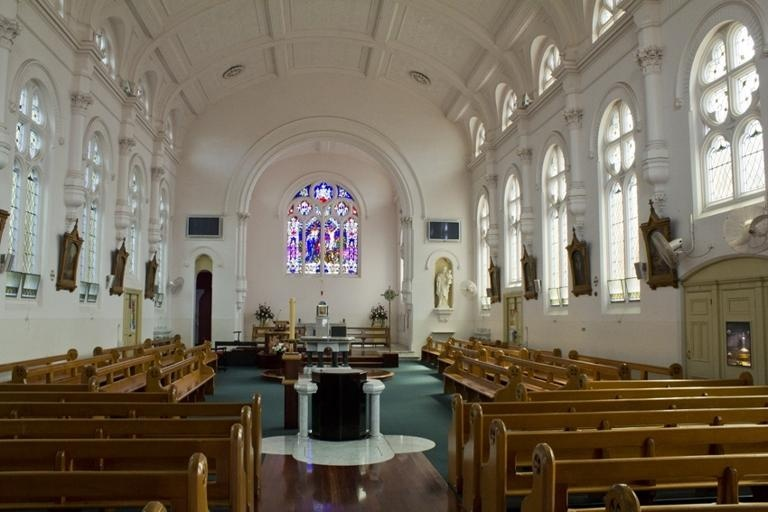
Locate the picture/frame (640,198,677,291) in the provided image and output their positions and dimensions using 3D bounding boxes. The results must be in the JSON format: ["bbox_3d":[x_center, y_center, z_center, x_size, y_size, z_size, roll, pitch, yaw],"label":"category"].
[{"bbox_3d":[6.104,-0.190,12.761,0.918,1.973,0.178,-8,1,-22],"label":"picture/frame"}]

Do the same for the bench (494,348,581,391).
[{"bbox_3d":[3.195,2.499,12.278,0.478,0.667,2.812,-12,2,-18],"label":"bench"}]

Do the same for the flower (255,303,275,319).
[{"bbox_3d":[-5.530,2.653,26.824,0.757,0.804,0.334,0,6,32],"label":"flower"}]

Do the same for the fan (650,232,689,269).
[{"bbox_3d":[6.189,-0.153,12.223,0.455,0.576,0.405,-35,30,5],"label":"fan"}]

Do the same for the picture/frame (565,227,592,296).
[{"bbox_3d":[5.420,0.143,15.711,0.307,1.929,0.824,1,-9,-8],"label":"picture/frame"}]

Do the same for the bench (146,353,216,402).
[{"bbox_3d":[-4.429,2.871,12.752,0.625,1.117,3.256,3,-4,-3],"label":"bench"}]

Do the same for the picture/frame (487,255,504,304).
[{"bbox_3d":[4.282,0.903,21.938,0.249,1.821,0.779,3,-10,-13],"label":"picture/frame"}]
